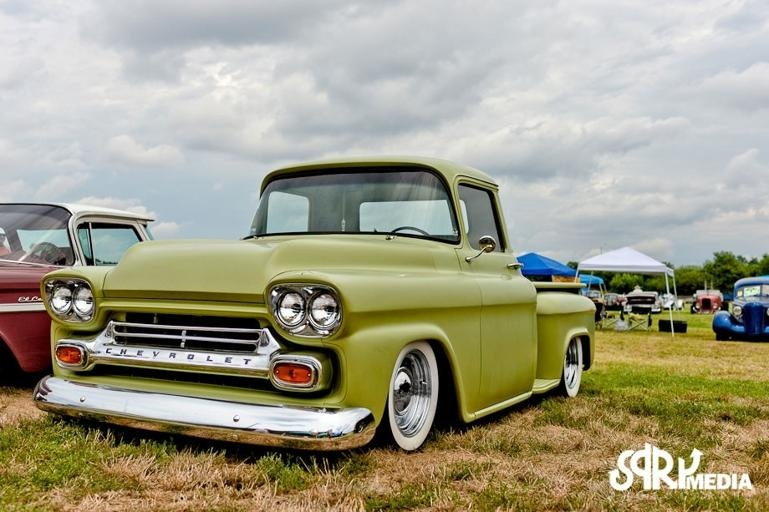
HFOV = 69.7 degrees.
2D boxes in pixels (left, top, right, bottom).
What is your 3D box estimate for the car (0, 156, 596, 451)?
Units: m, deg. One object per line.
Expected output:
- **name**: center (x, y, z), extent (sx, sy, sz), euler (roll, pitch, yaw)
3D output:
- **car**: center (-0.328, 0.315, 5.016), extent (4.432, 2.560, 2.115), euler (2, -4, -38)
